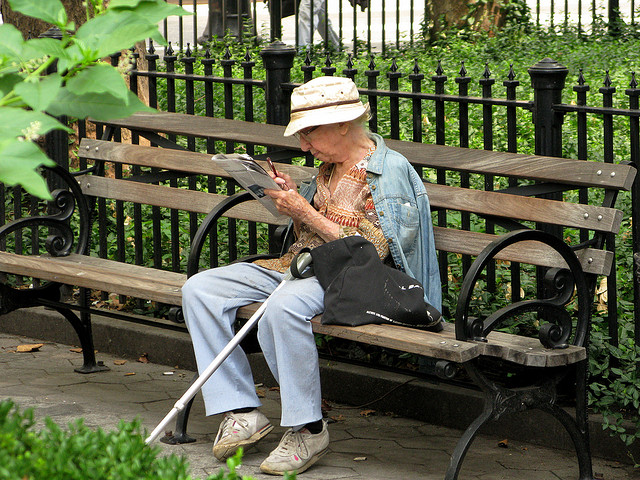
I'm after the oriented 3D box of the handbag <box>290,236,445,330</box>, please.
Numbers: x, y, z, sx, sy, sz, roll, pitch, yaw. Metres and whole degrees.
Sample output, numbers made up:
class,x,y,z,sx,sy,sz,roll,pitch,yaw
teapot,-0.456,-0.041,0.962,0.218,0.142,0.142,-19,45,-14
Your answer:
class,x,y,z,sx,sy,sz,roll,pitch,yaw
handbag,0.207,0.189,3.952,0.568,0.266,0.403,5,3,-5

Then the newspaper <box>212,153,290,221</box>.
class,x,y,z,sx,sy,sz,roll,pitch,yaw
newspaper,-0.313,-0.266,4.167,0.335,0.266,0.321,1,5,13
